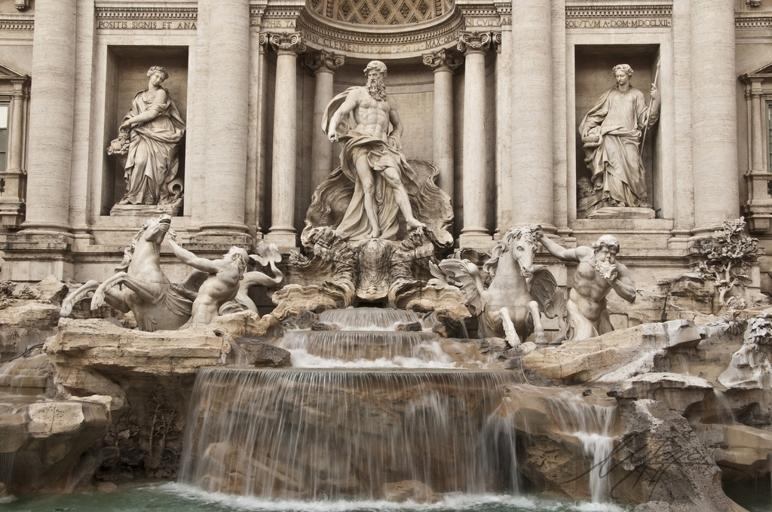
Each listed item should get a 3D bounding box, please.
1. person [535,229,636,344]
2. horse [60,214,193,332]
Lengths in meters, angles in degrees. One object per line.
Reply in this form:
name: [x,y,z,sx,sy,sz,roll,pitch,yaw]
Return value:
person: [4.150,0.661,18.401,1.345,2.051,0.695,0,-5,45]
horse: [-5.104,0.394,19.613,1.313,2.586,3.470,-15,-22,26]
